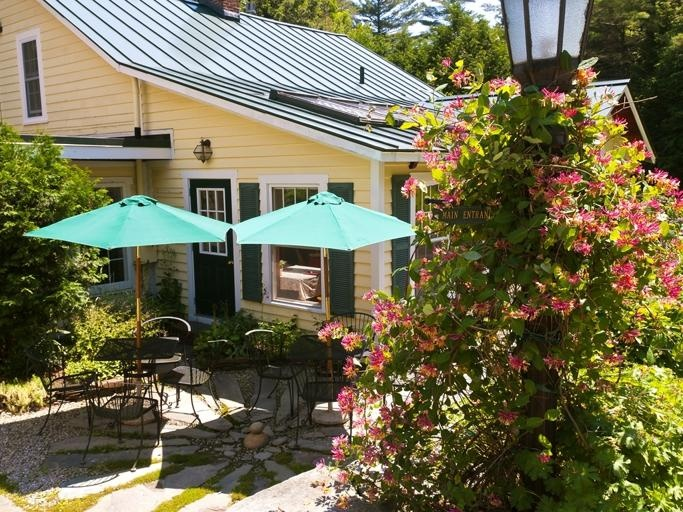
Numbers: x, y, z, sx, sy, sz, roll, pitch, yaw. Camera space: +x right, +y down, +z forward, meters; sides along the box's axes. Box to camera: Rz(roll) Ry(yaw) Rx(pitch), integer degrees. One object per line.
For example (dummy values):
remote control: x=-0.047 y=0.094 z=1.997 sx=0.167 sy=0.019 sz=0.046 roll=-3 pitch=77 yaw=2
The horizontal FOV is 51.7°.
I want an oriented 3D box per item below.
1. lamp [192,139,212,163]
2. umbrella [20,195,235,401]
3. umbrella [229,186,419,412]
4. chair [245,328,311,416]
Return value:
lamp: x=-2.151 y=-1.598 z=10.811 sx=0.362 sy=0.394 sz=0.184 roll=11 pitch=16 yaw=42
umbrella: x=-2.136 y=0.302 z=8.083 sx=1.987 sy=1.711 sz=1.998 roll=8 pitch=16 yaw=30
umbrella: x=-0.209 y=0.453 z=7.738 sx=2.202 sy=1.959 sz=2.280 roll=6 pitch=15 yaw=21
chair: x=-0.881 y=1.425 z=8.609 sx=0.682 sy=0.779 sz=0.704 roll=10 pitch=9 yaw=30
